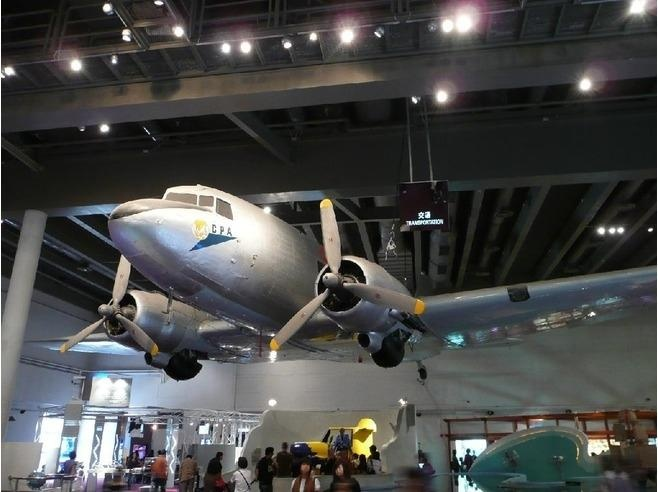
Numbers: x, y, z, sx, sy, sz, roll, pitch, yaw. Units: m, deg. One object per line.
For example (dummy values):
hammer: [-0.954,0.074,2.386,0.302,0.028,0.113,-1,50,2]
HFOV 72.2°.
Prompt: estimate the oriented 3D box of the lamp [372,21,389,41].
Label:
lamp: [0.757,-3.242,6.874,0.189,0.243,0.242,17,-10,11]

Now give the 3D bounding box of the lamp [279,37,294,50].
lamp: [-0.657,-3.183,7.059,0.167,0.167,0.168,24,-58,-5]

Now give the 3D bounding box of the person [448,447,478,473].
person: [4.287,6.872,14.488,0.722,0.668,1.241,1,-25,-2]

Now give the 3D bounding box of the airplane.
airplane: [0.185,1.241,10.594,12.291,3.665,6.902,4,-25,-8]
